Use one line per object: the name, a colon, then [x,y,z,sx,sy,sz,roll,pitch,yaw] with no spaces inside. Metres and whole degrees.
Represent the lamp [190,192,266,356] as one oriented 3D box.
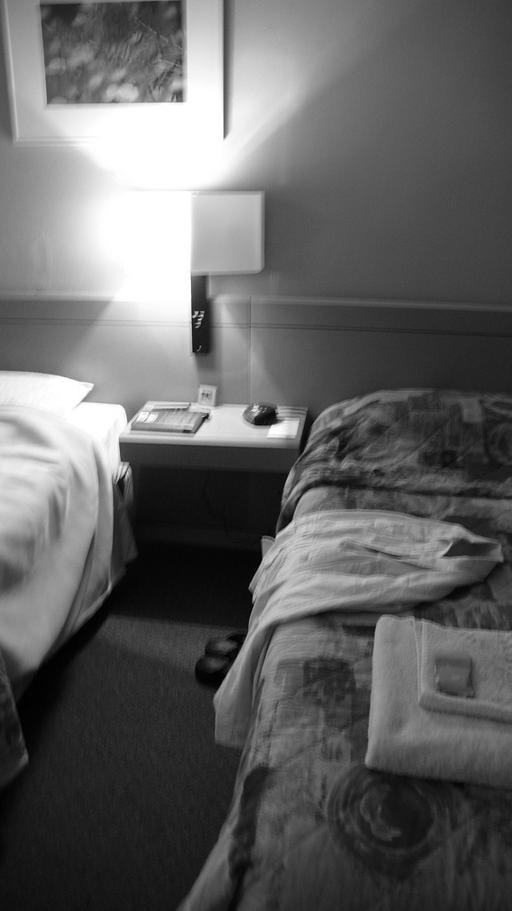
lamp: [-0.126,-0.801,2.463,0.396,0.671,0.197,-9,9,-2]
